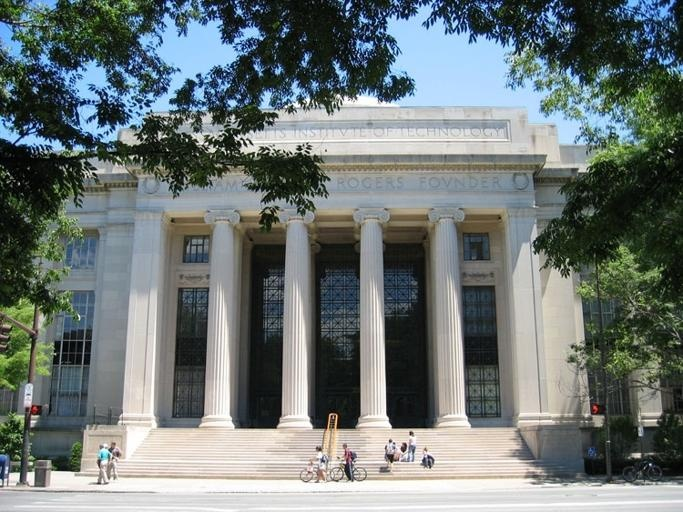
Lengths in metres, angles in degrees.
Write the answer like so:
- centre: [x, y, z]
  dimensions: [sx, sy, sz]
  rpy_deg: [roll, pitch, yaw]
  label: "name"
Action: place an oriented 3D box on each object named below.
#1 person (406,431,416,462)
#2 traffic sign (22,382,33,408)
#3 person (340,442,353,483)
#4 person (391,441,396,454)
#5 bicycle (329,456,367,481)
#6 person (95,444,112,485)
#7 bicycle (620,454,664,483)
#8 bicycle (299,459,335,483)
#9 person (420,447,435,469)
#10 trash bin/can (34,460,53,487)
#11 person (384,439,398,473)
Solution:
- centre: [3.593, 9.794, 31.982]
  dimensions: [0.430, 1.353, 1.601]
  rpy_deg: [-2, -10, 6]
  label: "person"
- centre: [-14.377, 6.359, 28.447]
  dimensions: [0.297, 1.113, 1.327]
  rpy_deg: [4, -11, -29]
  label: "traffic sign"
- centre: [0.305, 9.698, 29.334]
  dimensions: [0.421, 1.670, 0.854]
  rpy_deg: [-1, -10, 2]
  label: "person"
- centre: [2.607, 9.528, 30.952]
  dimensions: [0.212, 0.564, 0.839]
  rpy_deg: [-2, -10, 6]
  label: "person"
- centre: [0.274, 10.352, 30.272]
  dimensions: [1.734, 1.118, 0.889]
  rpy_deg: [-1, -12, -3]
  label: "bicycle"
- centre: [-10.964, 9.585, 28.552]
  dimensions: [0.497, 1.699, 1.297]
  rpy_deg: [2, -10, -20]
  label: "person"
- centre: [13.752, 9.828, 28.363]
  dimensions: [2.167, 0.868, 1.247]
  rpy_deg: [7, -13, -38]
  label: "bicycle"
- centre: [-1.192, 10.435, 29.965]
  dimensions: [1.662, 1.070, 0.858]
  rpy_deg: [3, -26, 0]
  label: "bicycle"
- centre: [4.340, 10.200, 31.364]
  dimensions: [0.806, 1.490, 0.760]
  rpy_deg: [-4, -13, 7]
  label: "person"
- centre: [-12.793, 9.255, 26.469]
  dimensions: [0.605, 1.038, 1.072]
  rpy_deg: [4, -11, -27]
  label: "trash bin/can"
- centre: [2.465, 9.904, 31.144]
  dimensions: [0.562, 1.507, 1.365]
  rpy_deg: [-2, -10, 6]
  label: "person"
